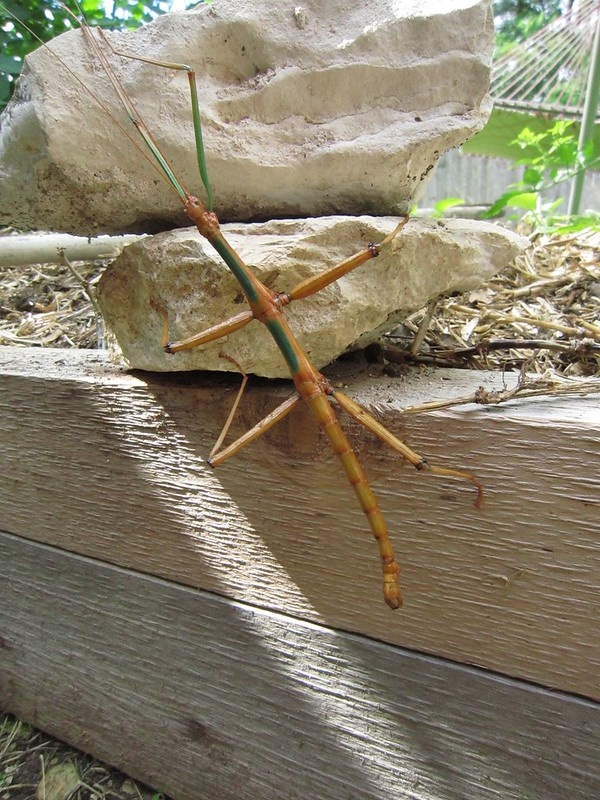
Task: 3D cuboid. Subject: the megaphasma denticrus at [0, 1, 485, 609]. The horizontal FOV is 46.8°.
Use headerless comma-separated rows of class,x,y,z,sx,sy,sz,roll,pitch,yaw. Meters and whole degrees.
megaphasma denticrus,-0.066,-0.151,1.454,0.679,1.183,0.227,-27,3,2
